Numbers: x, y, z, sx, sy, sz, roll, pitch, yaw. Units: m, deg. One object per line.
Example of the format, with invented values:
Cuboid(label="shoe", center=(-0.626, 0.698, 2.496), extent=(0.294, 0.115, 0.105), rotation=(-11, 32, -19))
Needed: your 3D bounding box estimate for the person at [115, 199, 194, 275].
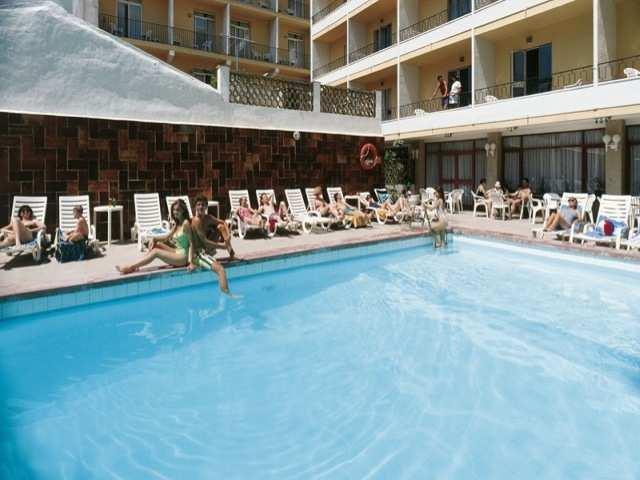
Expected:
Cuboid(label="person", center=(-2.966, -0.027, 8.938), extent=(1.486, 1.276, 0.682), rotation=(-12, 15, -32))

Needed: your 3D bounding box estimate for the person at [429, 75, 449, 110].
Cuboid(label="person", center=(4.831, -6.104, 19.996), extent=(0.648, 1.621, 1.974), rotation=(-2, 7, 13))

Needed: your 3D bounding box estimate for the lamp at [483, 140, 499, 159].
Cuboid(label="lamp", center=(6.465, -3.486, 18.697), extent=(0.290, 0.691, 0.474), rotation=(-8, 7, -43))

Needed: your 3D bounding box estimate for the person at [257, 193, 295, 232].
Cuboid(label="person", center=(-1.163, -0.718, 12.970), extent=(0.595, 1.071, 1.326), rotation=(-5, 10, -32))

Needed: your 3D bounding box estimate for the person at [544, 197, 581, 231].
Cuboid(label="person", center=(5.698, -0.621, 11.812), extent=(1.142, 0.894, 0.663), rotation=(-2, 7, -28))

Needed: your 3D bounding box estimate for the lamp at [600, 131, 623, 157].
Cuboid(label="lamp", center=(8.918, -3.011, 15.099), extent=(0.481, 0.613, 0.316), rotation=(1, 7, 41))

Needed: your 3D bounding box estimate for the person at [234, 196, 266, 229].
Cuboid(label="person", center=(-1.849, -0.679, 12.476), extent=(0.548, 0.979, 0.661), rotation=(-2, -5, -45))

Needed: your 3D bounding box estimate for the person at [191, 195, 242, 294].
Cuboid(label="person", center=(-2.006, 0.076, 9.286), extent=(0.738, 1.780, 1.299), rotation=(-5, 6, -11))

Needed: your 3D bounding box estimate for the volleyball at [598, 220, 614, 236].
Cuboid(label="volleyball", center=(6.222, -0.258, 10.755), extent=(0.206, 0.345, 0.312), rotation=(-1, 1, 3))

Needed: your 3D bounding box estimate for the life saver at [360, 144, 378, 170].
Cuboid(label="life saver", center=(1.672, -2.865, 16.807), extent=(0.274, 0.883, 0.832), rotation=(2, 8, 44))

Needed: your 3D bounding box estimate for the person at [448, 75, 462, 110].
Cuboid(label="person", center=(5.272, -5.941, 19.434), extent=(0.560, 1.439, 2.121), rotation=(-2, 7, 17))

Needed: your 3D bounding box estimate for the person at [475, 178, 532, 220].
Cuboid(label="person", center=(6.388, -1.342, 17.064), extent=(1.436, 1.245, 1.884), rotation=(1, 2, 39))
